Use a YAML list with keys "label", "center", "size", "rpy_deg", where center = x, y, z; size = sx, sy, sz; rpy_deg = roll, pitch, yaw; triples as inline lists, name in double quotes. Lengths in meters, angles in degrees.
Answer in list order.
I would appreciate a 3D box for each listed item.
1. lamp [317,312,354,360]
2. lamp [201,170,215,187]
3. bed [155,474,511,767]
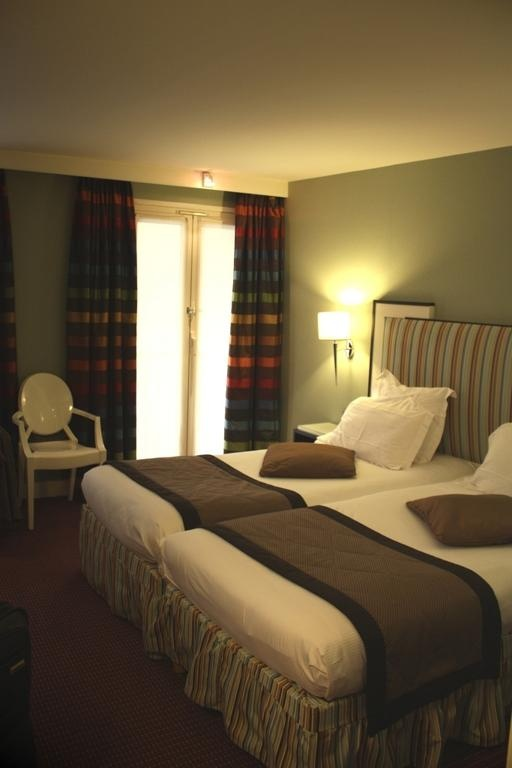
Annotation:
- label: "lamp"
  center: [0.646, -0.361, 4.770]
  size: [0.284, 0.491, 0.264]
  rpy_deg: [-8, 20, -11]
- label: "lamp"
  center: [-0.396, -1.673, 4.856]
  size: [0.120, 0.137, 0.195]
  rpy_deg: [2, 4, -5]
- label: "bed"
  center: [0.040, 0.675, 1.952]
  size: [0.839, 0.185, 0.835]
  rpy_deg: [-4, 13, -28]
